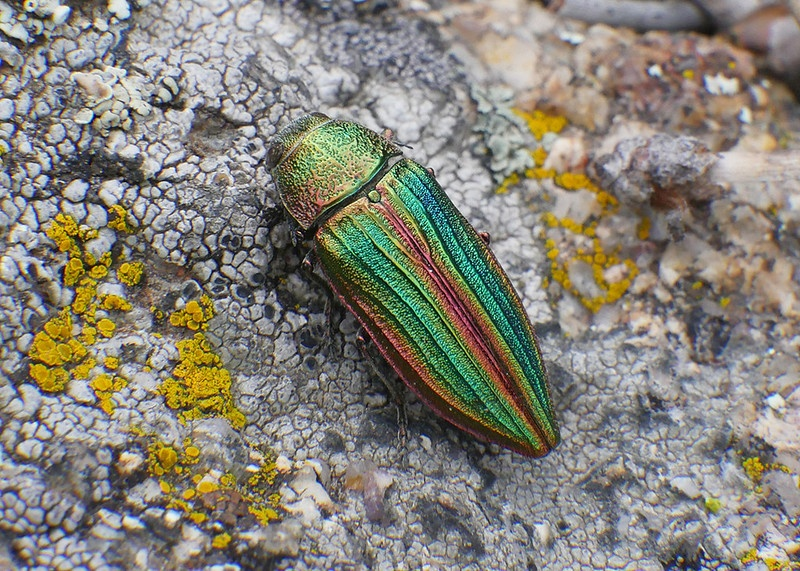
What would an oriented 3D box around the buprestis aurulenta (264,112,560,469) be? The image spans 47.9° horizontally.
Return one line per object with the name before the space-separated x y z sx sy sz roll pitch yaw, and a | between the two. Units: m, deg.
buprestis aurulenta | 0.083 -0.026 4.267 0.694 0.237 1.929 -38 80 -14
